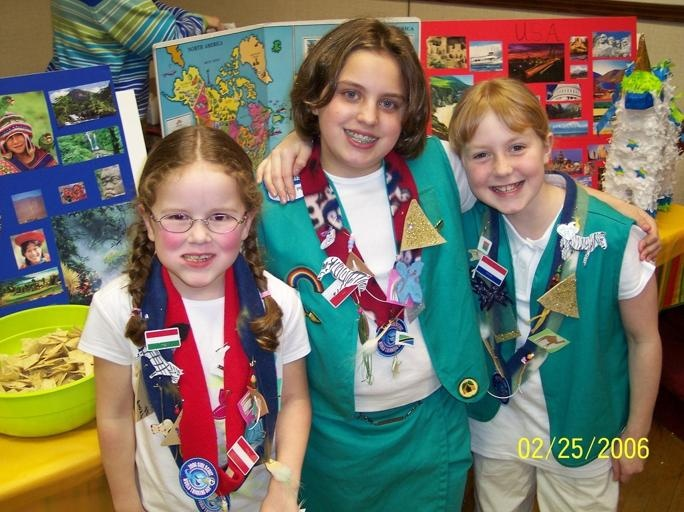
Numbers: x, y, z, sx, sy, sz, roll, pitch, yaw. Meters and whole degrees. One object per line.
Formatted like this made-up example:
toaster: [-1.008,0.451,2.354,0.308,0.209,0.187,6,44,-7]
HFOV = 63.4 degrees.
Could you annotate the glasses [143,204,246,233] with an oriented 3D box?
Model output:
glasses: [-0.360,-0.086,1.391,0.224,0.068,0.053,-6,11,-6]
